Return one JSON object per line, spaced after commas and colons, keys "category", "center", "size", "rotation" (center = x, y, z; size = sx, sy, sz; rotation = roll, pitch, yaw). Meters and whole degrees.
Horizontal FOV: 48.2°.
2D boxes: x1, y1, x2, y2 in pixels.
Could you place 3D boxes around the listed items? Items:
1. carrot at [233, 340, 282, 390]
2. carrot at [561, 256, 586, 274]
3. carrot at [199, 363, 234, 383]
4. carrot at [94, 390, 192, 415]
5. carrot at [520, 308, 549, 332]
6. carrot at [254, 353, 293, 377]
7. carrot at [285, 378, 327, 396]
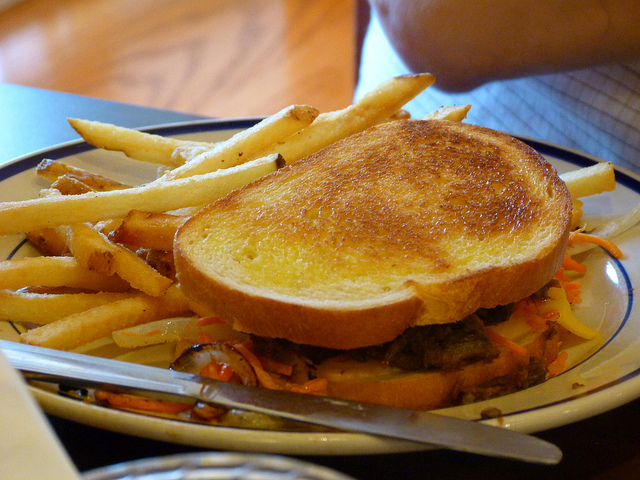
{"category": "carrot", "center": [-0.151, 0.306, 1.726], "size": [0.120, 0.028, 0.118], "rotation": [30, 3, -31]}
{"category": "carrot", "center": [0.748, 0.075, 2.135], "size": [0.075, 0.065, 0.022], "rotation": [20, 66, -6]}
{"category": "carrot", "center": [-0.248, 0.316, 1.712], "size": [0.061, 0.015, 0.043], "rotation": [3, 45, -8]}
{"category": "carrot", "center": [-0.410, 0.378, 1.653], "size": [0.178, 0.092, 0.033], "rotation": [11, 88, -1]}
{"category": "carrot", "center": [0.540, 0.205, 1.833], "size": [0.070, 0.015, 0.057], "rotation": [18, 17, -28]}
{"category": "carrot", "center": [-0.113, 0.308, 1.752], "size": [0.114, 0.015, 0.022], "rotation": [14, 34, 15]}
{"category": "carrot", "center": [-0.024, 0.349, 1.701], "size": [0.061, 0.015, 0.056], "rotation": [4, 6, 27]}
